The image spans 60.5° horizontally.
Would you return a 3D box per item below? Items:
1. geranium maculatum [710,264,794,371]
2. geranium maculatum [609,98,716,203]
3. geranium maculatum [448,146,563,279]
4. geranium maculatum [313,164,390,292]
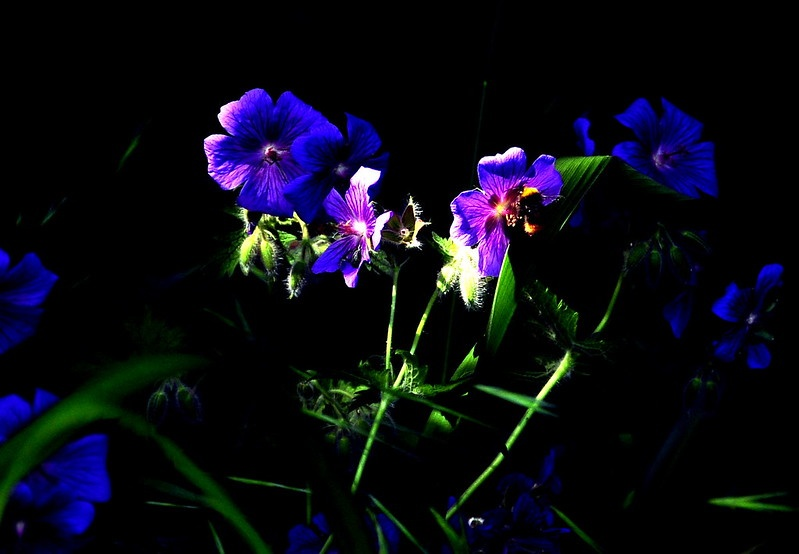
[{"bbox_3d":[0.491,0.051,0.964,0.109,0.162,0.027,11,1,-23],"label":"geranium maculatum"},{"bbox_3d":[0.354,-0.176,0.899,0.137,0.042,0.152,38,-3,39],"label":"geranium maculatum"},{"bbox_3d":[0.119,-0.084,0.812,0.152,0.070,0.148,8,40,44],"label":"geranium maculatum"},{"bbox_3d":[-0.055,-0.059,0.788,0.044,0.122,0.121,-2,38,-43],"label":"geranium maculatum"}]
